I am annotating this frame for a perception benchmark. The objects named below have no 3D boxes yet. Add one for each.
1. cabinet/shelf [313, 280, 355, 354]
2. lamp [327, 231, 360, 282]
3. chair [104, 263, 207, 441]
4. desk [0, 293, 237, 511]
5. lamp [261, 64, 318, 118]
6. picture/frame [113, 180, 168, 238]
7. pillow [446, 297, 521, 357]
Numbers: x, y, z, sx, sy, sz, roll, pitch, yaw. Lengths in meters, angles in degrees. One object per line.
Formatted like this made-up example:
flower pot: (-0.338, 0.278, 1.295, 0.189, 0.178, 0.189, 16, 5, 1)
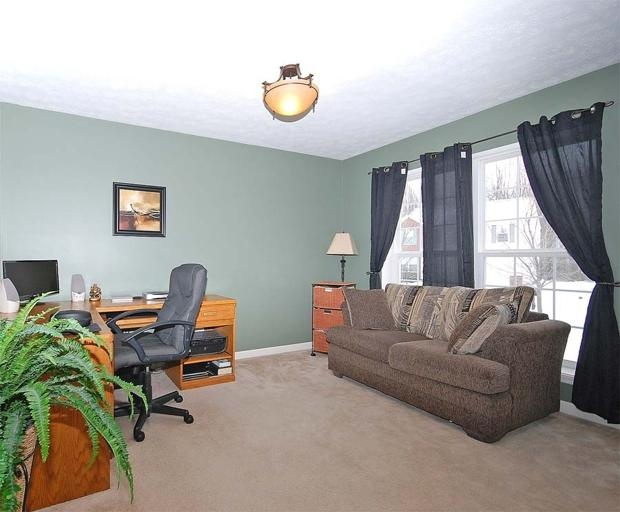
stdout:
cabinet/shelf: (0.374, 0.805, 5.579, 0.635, 0.909, 0.604, 5, -5, -21)
lamp: (0.416, 0.065, 5.506, 0.401, 0.608, 0.394, 3, -12, -5)
chair: (-1.308, 0.719, 3.577, 0.909, 1.237, 0.825, 4, 3, 34)
desk: (-1.187, 0.826, 3.144, 1.316, 0.643, 1.272, 3, -4, -37)
lamp: (-0.156, -1.222, 3.316, 0.381, 0.335, 0.397, -7, 6, -38)
picture/frame: (-1.847, -0.485, 4.730, 0.623, 0.709, 0.052, 1, -2, -31)
pillow: (1.367, 0.582, 3.524, 0.172, 0.435, 0.433, 23, 1, 10)
